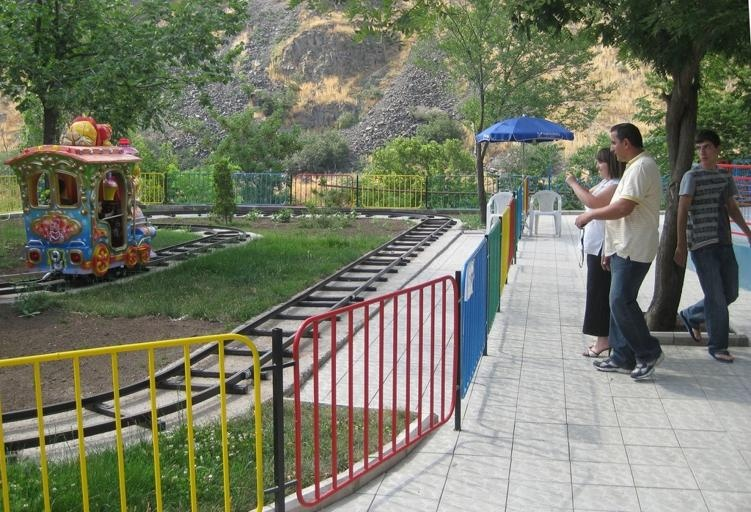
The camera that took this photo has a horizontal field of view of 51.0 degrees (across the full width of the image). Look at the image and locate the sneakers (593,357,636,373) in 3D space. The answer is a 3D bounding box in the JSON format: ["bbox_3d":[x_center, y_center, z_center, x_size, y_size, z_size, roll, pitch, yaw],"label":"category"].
[{"bbox_3d":[3.090,1.418,10.201,0.440,0.230,0.195,6,8,17],"label":"sneakers"}]

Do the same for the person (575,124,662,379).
[{"bbox_3d":[3.171,-0.058,9.779,0.857,3.196,0.602,3,7,21],"label":"person"}]

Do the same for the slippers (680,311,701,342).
[{"bbox_3d":[4.401,0.990,10.964,0.122,0.548,0.177,-11,-8,-18],"label":"slippers"}]

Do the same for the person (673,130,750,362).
[{"bbox_3d":[4.473,-0.148,10.376,1.073,3.024,0.544,-2,7,-16],"label":"person"}]

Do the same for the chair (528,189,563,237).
[{"bbox_3d":[4.759,-1.247,22.053,0.971,1.394,1.004,0,3,-12],"label":"chair"}]

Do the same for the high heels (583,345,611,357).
[{"bbox_3d":[2.996,1.249,10.649,0.270,0.148,0.173,0,15,10],"label":"high heels"}]
